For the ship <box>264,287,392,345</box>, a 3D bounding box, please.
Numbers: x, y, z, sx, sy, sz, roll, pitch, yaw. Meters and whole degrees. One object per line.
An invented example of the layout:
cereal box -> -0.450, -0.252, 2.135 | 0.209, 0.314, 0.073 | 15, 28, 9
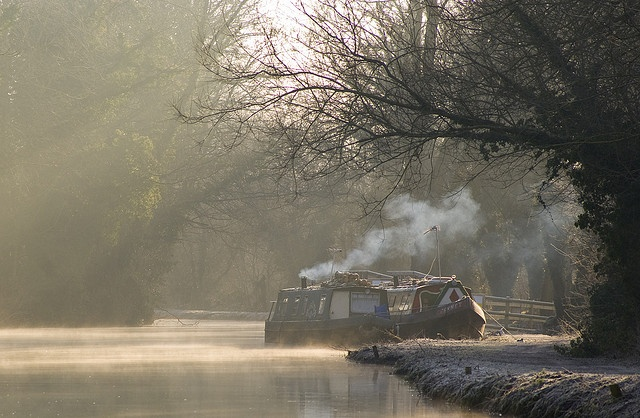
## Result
ship -> 0.173, 5.107, 53.396 | 2.913, 1.902, 5.013 | 4, -5, -32

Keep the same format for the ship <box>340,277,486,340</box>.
ship -> 5.471, 4.582, 53.153 | 2.572, 1.851, 5.460 | 0, -7, -17
